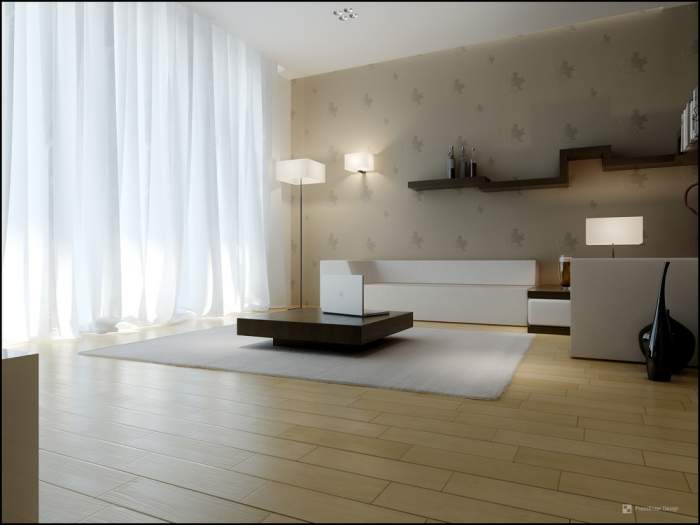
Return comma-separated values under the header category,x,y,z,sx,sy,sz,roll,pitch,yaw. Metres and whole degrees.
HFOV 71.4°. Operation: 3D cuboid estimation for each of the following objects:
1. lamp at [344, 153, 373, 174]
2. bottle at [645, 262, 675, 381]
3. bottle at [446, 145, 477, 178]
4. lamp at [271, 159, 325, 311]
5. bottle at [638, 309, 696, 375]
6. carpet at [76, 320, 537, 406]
category,x,y,z,sx,sy,sz,roll,pitch,yaw
lamp,0.111,-1.290,6.422,0.297,0.179,0.294,0,0,18
bottle,1.796,0.348,2.780,0.196,0.641,0.115,-4,6,-39
bottle,1.369,-1.222,5.918,0.353,0.441,0.340,0,4,0
lamp,-0.677,-0.373,6.692,0.665,2.045,0.800,0,4,0
bottle,1.864,0.455,2.949,0.356,0.411,0.351,0,-1,-43
carpet,-0.124,0.638,3.661,2.853,0.081,1.920,1,4,17
